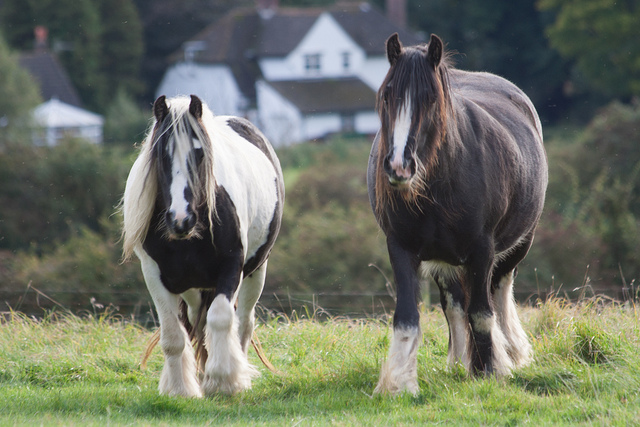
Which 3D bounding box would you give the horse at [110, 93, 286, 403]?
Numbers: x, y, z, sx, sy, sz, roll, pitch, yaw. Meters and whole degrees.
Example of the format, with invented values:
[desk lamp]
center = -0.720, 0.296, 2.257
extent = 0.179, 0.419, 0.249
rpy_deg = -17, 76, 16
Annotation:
[horse]
center = -1.998, 0.573, 21.676
extent = 2.687, 5.292, 0.996
rpy_deg = 1, -2, -30
